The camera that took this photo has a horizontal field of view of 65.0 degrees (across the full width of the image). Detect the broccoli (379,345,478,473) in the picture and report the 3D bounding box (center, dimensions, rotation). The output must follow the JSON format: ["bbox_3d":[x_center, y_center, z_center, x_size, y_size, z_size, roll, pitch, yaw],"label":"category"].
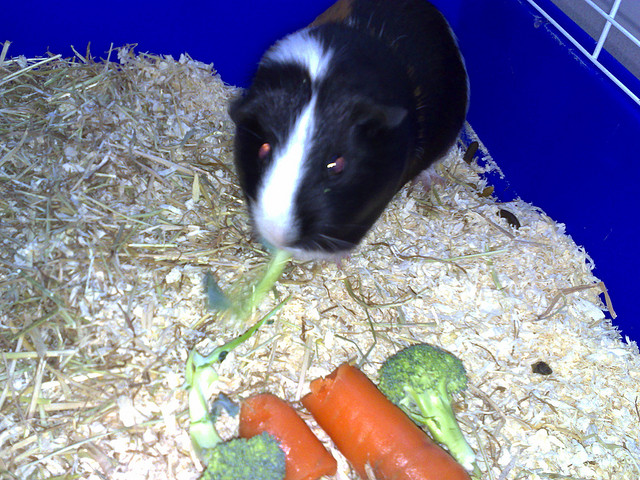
[{"bbox_3d":[0.520,0.754,2.262,0.542,0.309,0.263,41,33,-4],"label":"broccoli"}]
